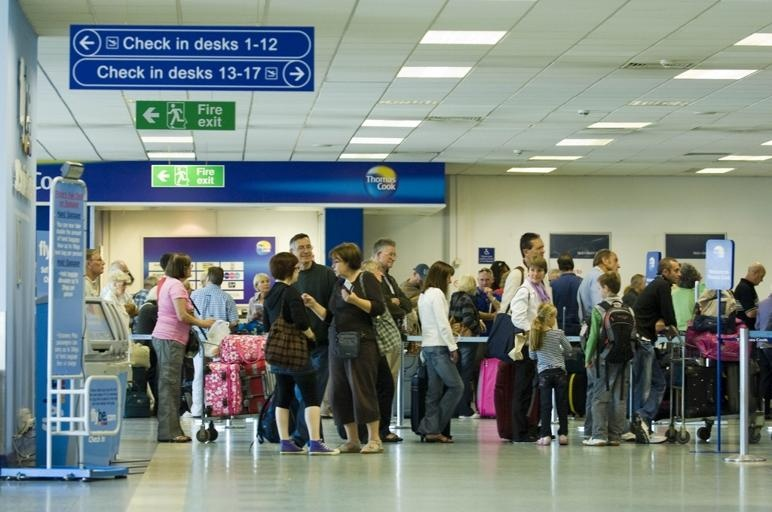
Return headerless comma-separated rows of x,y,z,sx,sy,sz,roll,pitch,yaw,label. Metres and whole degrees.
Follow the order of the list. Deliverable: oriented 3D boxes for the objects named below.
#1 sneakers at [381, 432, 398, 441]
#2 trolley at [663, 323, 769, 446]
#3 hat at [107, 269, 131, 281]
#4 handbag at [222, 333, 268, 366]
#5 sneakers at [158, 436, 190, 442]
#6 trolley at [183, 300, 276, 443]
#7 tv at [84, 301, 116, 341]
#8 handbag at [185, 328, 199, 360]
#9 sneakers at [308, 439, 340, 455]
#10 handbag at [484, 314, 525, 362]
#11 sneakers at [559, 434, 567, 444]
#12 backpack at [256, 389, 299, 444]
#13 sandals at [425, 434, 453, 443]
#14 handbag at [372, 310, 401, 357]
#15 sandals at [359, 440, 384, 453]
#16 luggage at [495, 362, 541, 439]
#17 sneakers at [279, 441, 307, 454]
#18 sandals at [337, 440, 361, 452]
0.052,2.041,8.267,0.252,0.087,0.082,0,2,-3,sneakers
4.171,1.487,8.937,1.317,1.343,1.246,2,-13,-7,trolley
-3.678,0.259,10.140,0.236,0.166,0.182,17,4,20,hat
-1.654,1.073,8.517,0.434,0.183,0.409,0,-3,3,handbag
-2.370,2.063,8.261,0.328,0.076,0.117,-1,-5,-2,sneakers
-1.830,1.509,8.581,0.893,0.997,0.826,-8,-11,28,trolley
-2.644,0.595,6.813,0.258,0.355,0.077,-1,-8,-8,tv
-2.170,0.984,8.285,0.111,0.263,0.219,2,-2,-4,handbag
-0.591,1.936,7.486,0.419,0.154,0.133,1,-2,-8,sneakers
1.349,0.920,8.345,0.185,0.541,0.413,5,-10,-42,handbag
2.005,2.065,8.302,0.096,0.097,0.293,-3,-7,14,sneakers
-1.175,1.766,7.979,0.358,0.580,0.566,2,-8,-24,backpack
0.603,2.051,8.341,0.301,0.079,0.114,-1,-3,0,sandals
0.013,0.779,7.504,0.184,0.442,0.298,-8,-9,39,handbag
-0.147,1.973,7.630,0.237,0.132,0.230,-1,-7,-3,sandals
1.594,1.650,8.795,0.617,1.015,0.718,-2,-6,-3,luggage
-0.962,1.967,7.624,0.282,0.155,0.236,2,-8,-25,sneakers
-0.381,1.970,7.619,0.230,0.078,0.104,3,-5,-15,sandals
